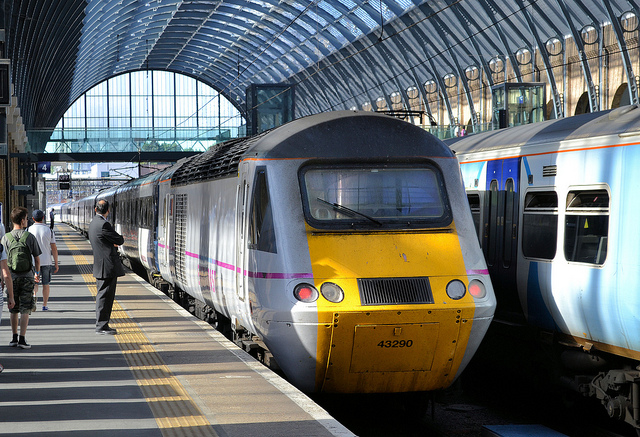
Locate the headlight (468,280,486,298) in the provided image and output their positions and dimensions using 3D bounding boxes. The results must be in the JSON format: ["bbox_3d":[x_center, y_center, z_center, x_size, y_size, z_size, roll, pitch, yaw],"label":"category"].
[{"bbox_3d":[2.225,0.989,7.935,0.291,0.237,0.090,0,-1,-28],"label":"headlight"}]

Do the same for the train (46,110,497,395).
[{"bbox_3d":[-4.348,0.473,21.028,3.193,4.655,29.612,3,0,-22],"label":"train"}]

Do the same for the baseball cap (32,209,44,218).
[{"bbox_3d":[-6.296,-0.116,12.510,0.169,0.140,0.254,-1,21,-5],"label":"baseball cap"}]

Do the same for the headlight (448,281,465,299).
[{"bbox_3d":[1.906,0.997,7.836,0.251,0.222,0.085,0,-1,-29],"label":"headlight"}]
